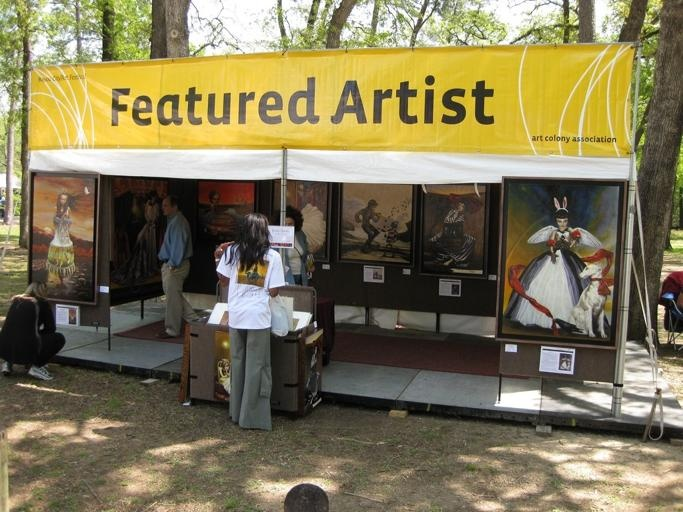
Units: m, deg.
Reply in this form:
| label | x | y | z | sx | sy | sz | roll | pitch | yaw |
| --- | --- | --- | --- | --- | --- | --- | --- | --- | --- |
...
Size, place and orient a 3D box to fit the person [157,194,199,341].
| label | x | y | z | sx | sy | sz | roll | pitch | yaw |
| --- | --- | --- | --- | --- | --- | --- | --- | --- | --- |
| person | -2.637 | 0.194 | 10.124 | 0.517 | 2.252 | 0.599 | -2 | 12 | -14 |

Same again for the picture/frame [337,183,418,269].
| label | x | y | z | sx | sy | sz | roll | pitch | yaw |
| --- | --- | --- | --- | --- | --- | --- | --- | --- | --- |
| picture/frame | 0.682 | -0.542 | 11.146 | 1.565 | 1.563 | 0.124 | 1 | -2 | 14 |

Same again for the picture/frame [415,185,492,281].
| label | x | y | z | sx | sy | sz | roll | pitch | yaw |
| --- | --- | --- | --- | --- | --- | --- | --- | --- | --- |
| picture/frame | 1.934 | -0.409 | 10.717 | 1.622 | 2.133 | 0.100 | 2 | 5 | 21 |

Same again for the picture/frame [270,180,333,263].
| label | x | y | z | sx | sy | sz | roll | pitch | yaw |
| --- | --- | --- | --- | --- | --- | --- | --- | --- | --- |
| picture/frame | -0.767 | -0.705 | 11.537 | 1.168 | 1.502 | 0.039 | -1 | -14 | -7 |

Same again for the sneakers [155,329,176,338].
| label | x | y | z | sx | sy | sz | roll | pitch | yaw |
| --- | --- | --- | --- | --- | --- | --- | --- | --- | --- |
| sneakers | -2.774 | 1.225 | 10.106 | 0.316 | 0.129 | 0.161 | 8 | -2 | 1 |

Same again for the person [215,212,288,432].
| label | x | y | z | sx | sy | sz | roll | pitch | yaw |
| --- | --- | --- | --- | --- | --- | --- | --- | --- | --- |
| person | -1.005 | 0.733 | 7.034 | 0.691 | 2.338 | 0.486 | 2 | 12 | 8 |

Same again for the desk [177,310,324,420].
| label | x | y | z | sx | sy | sz | roll | pitch | yaw |
| --- | --- | --- | --- | --- | --- | --- | --- | --- | --- |
| desk | -1.072 | 1.288 | 7.800 | 1.568 | 1.038 | 0.904 | 1 | -1 | 25 |
